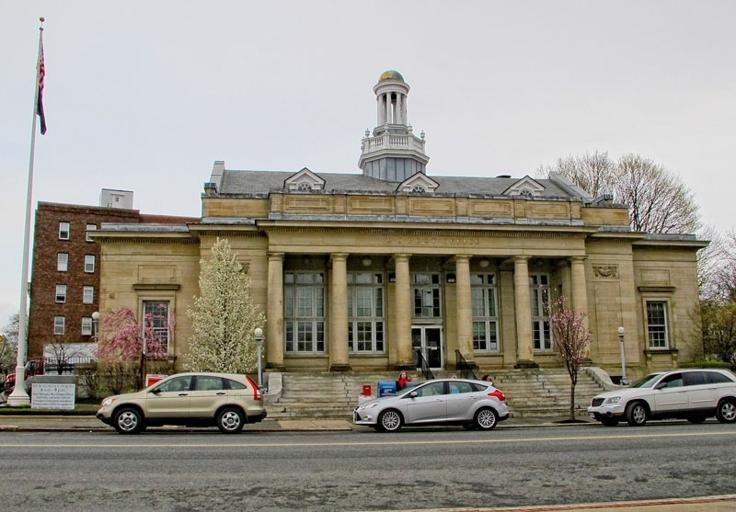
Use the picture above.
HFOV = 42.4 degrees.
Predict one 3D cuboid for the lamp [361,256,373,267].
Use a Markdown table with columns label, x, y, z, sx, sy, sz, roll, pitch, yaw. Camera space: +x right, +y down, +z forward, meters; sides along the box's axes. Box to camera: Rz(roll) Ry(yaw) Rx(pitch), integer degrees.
| label | x | y | z | sx | sy | sz | roll | pitch | yaw |
| --- | --- | --- | --- | --- | --- | --- | --- | --- | --- |
| lamp | -0.067 | 0.340 | 52.371 | 0.536 | 0.480 | 0.533 | -1 | -4 | 10 |
